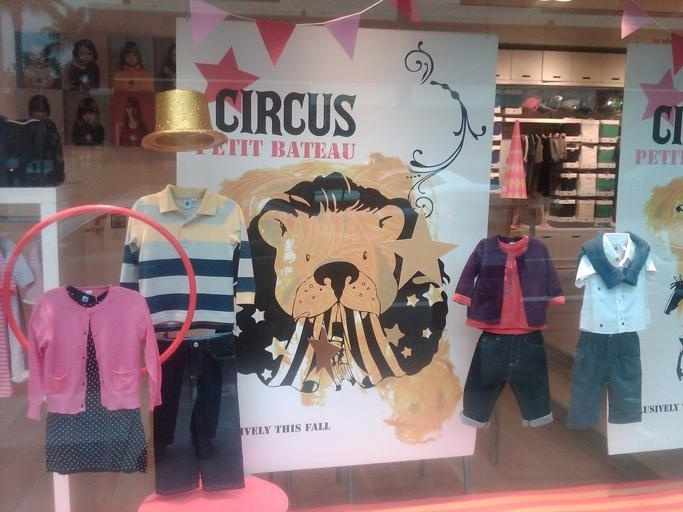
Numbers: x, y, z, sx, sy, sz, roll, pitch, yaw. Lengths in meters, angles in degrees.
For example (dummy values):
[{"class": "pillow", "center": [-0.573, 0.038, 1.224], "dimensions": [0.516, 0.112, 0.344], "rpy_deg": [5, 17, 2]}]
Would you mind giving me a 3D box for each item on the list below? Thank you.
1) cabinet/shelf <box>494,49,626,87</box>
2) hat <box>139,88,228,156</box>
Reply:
[{"class": "cabinet/shelf", "center": [1.232, -1.049, 3.346], "dimensions": [0.761, 0.197, 0.136], "rpy_deg": [-3, 10, -16]}, {"class": "hat", "center": [-0.918, -0.767, 3.207], "dimensions": [0.357, 0.237, 0.396], "rpy_deg": [-2, 12, 8]}]
